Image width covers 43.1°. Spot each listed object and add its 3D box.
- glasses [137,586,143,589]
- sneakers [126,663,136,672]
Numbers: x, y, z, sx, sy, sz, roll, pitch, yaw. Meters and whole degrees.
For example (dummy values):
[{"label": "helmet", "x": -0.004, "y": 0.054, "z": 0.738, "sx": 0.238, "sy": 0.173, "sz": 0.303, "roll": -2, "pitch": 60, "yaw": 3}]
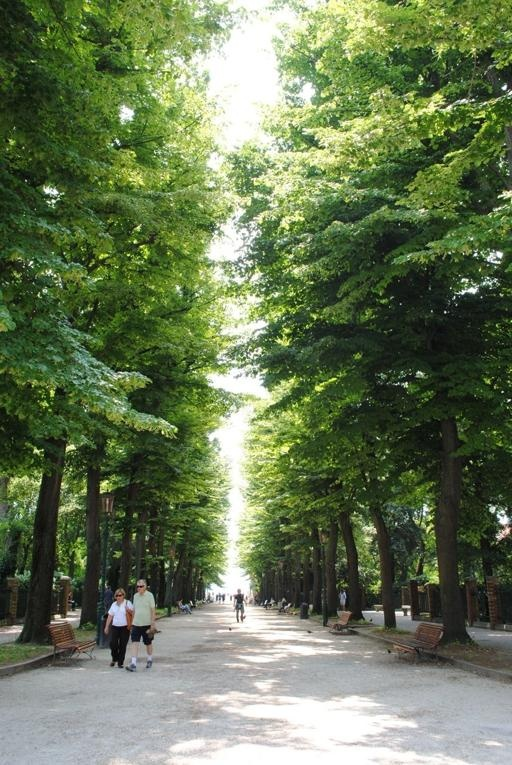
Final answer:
[{"label": "glasses", "x": -2.280, "y": 4.059, "z": 12.831, "sx": 0.118, "sy": 0.081, "sz": 0.203, "roll": 3, "pitch": -20, "yaw": -7}, {"label": "sneakers", "x": -2.377, "y": 5.435, "z": 12.370, "sx": 0.172, "sy": 0.134, "sz": 0.289, "roll": 4, "pitch": -20, "yaw": -10}]
